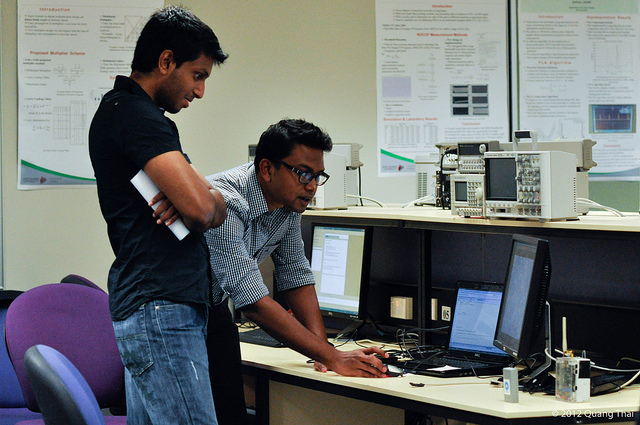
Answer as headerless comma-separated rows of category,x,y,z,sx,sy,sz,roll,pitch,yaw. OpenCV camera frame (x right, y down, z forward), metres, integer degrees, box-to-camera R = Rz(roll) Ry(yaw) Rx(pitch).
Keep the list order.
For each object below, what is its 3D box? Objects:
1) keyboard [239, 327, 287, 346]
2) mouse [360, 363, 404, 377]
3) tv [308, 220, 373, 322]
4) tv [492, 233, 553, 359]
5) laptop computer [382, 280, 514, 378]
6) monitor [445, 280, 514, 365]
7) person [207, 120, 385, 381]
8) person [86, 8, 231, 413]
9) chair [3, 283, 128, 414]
keyboard,-0.288,0.633,2.945,0.147,0.027,0.203,-8,10,-26
mouse,0.282,0.713,2.663,0.146,0.041,0.083,-2,3,-6
tv,0.115,0.324,3.235,0.587,0.704,0.074,-2,-5,44
tv,0.905,0.386,2.570,0.111,0.478,0.560,9,-10,-8
laptop computer,0.630,0.523,2.801,0.459,0.348,0.503,-3,4,-31
monitor,0.773,0.519,2.945,0.334,0.392,0.433,4,1,-45
person,-0.129,0.162,2.701,0.766,1.164,0.356,0,3,-9
person,-0.586,-0.007,2.106,0.475,1.486,0.234,0,3,-20
chair,-1.334,0.648,3.268,0.724,0.894,0.802,0,-10,-22
